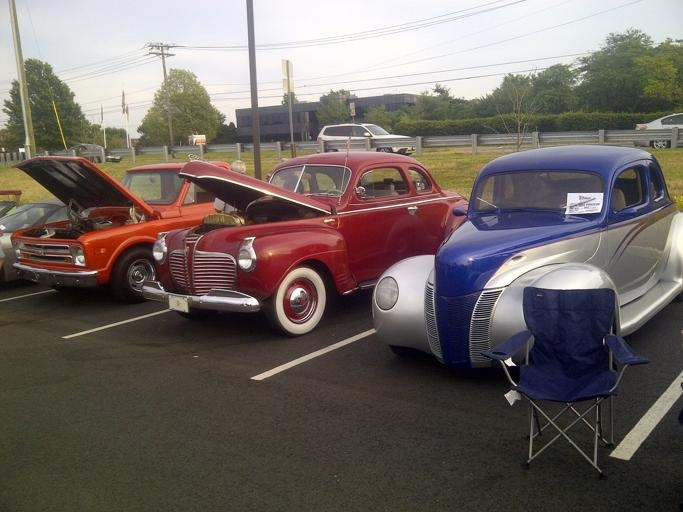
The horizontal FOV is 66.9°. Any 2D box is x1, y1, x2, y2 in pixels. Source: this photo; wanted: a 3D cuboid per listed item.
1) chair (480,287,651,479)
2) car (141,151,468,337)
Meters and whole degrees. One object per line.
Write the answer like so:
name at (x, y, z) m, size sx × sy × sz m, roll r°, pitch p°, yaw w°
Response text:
chair at (1.822, 0.978, 4.094) m, size 1.063 × 1.290 × 1.167 m, roll -6°, pitch 3°, yaw -42°
car at (0.074, -0.360, 8.767) m, size 2.320 × 2.151 × 5.900 m, roll -1°, pitch 6°, yaw 37°
